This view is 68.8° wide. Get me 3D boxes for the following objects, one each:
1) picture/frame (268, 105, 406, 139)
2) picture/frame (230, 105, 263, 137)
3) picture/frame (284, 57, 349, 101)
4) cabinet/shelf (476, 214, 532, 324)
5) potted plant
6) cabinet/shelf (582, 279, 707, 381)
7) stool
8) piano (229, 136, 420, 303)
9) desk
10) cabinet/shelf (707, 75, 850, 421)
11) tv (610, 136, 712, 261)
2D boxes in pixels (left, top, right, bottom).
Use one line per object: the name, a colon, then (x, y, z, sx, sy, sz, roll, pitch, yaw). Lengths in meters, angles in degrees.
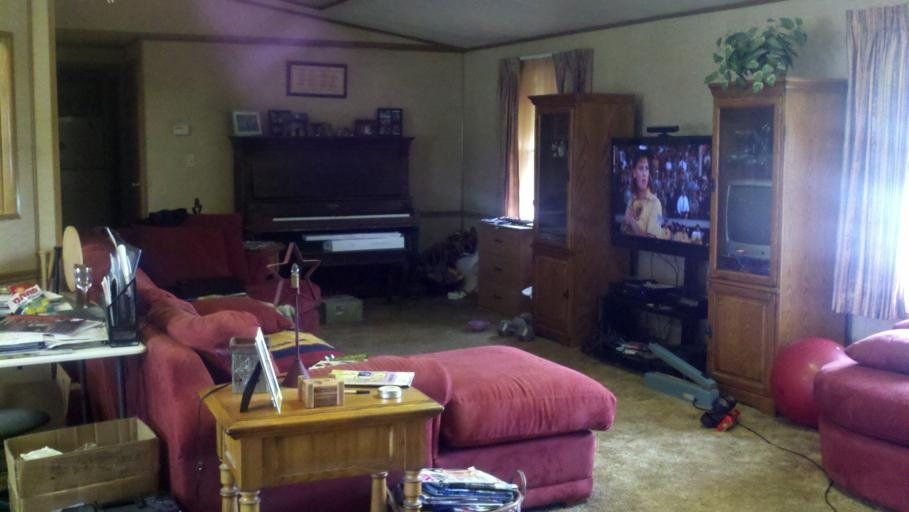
picture/frame: (-1.578, -1.740, 8.659, 1.763, 0.377, 0.463, -6, 11, -20)
picture/frame: (-2.656, -1.706, 8.397, 0.480, 0.419, 0.162, 4, -18, -23)
picture/frame: (-1.815, -2.334, 8.767, 0.789, 0.399, 0.062, -1, 17, -14)
cabinet/shelf: (0.595, 0.147, 8.177, 0.292, 1.130, 0.857, -12, 14, -36)
potted plant: (2.632, -1.755, 5.751, 0.723, 0.662, 0.806, 5, 14, 38)
cabinet/shelf: (2.065, 0.715, 6.660, 0.585, 0.772, 1.038, 0, 8, -40)
stool: (0.248, 1.065, 4.883, 1.257, 0.737, 1.174, 0, 5, -21)
piano: (-1.605, -0.492, 8.526, 2.378, 1.964, 1.172, -2, 8, -18)
desk: (-2.442, 0.707, 4.422, 0.876, 0.703, 0.830, -5, 10, -29)
cabinet/shelf: (2.761, -0.091, 5.688, 1.084, 2.772, 0.736, 1, 12, 21)
tv: (2.071, -0.601, 6.549, 0.145, 1.161, 1.320, -6, 8, -38)
